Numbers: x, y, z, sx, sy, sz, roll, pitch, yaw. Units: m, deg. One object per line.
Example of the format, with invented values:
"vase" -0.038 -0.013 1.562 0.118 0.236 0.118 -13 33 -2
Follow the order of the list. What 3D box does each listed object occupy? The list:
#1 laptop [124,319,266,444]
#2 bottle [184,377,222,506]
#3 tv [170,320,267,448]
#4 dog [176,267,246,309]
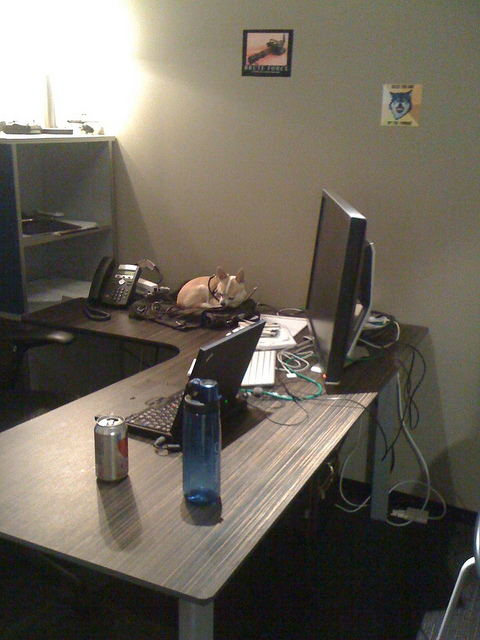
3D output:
"laptop" -0.110 0.115 1.201 0.277 0.239 0.336 8 14 21
"bottle" -0.059 0.210 0.897 0.079 0.219 0.074 2 13 0
"tv" -0.045 0.156 1.211 0.141 0.179 0.183 27 31 20
"dog" -0.136 -0.133 2.107 0.155 0.183 0.326 -11 19 -44
